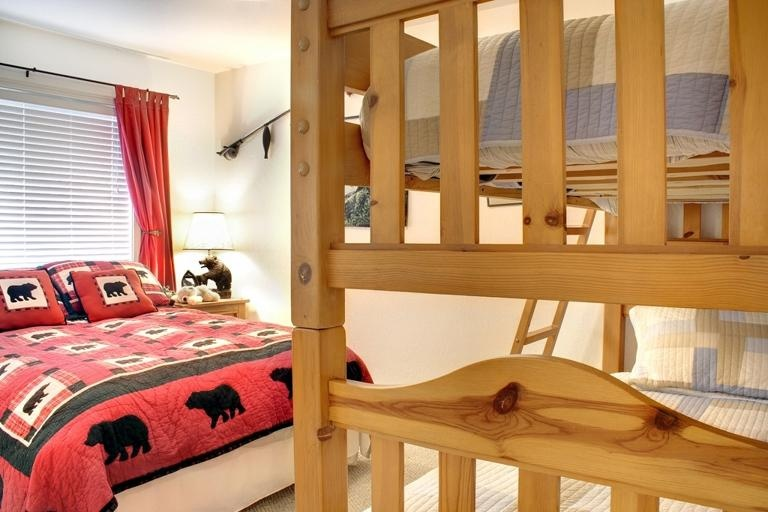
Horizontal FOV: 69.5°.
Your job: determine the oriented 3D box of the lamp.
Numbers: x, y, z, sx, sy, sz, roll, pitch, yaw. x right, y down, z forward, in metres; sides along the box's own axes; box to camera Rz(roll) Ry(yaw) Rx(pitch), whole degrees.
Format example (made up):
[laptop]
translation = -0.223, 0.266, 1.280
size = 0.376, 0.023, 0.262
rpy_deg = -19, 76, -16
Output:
[lamp]
translation = -1.485, -0.007, 4.673
size = 0.413, 0.720, 0.646
rpy_deg = -1, 6, -16
